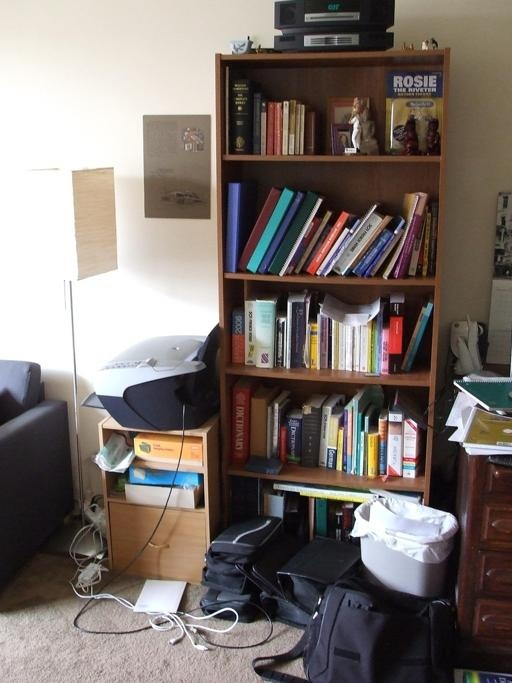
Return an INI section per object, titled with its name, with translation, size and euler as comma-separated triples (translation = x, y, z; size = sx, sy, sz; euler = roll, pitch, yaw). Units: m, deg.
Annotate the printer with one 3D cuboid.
[printer]
translation = -0.361, 0.097, 2.146
size = 0.436, 0.292, 0.361
euler = 2, 13, 12
